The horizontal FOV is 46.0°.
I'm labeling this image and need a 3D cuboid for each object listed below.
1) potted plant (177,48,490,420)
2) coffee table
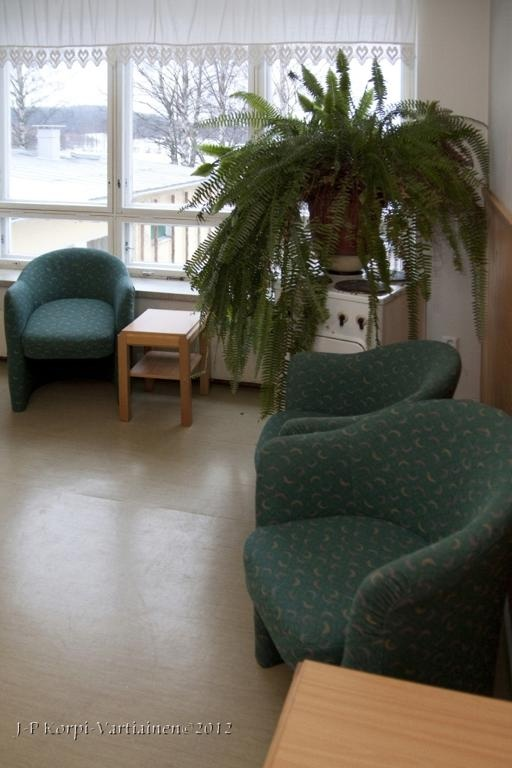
[{"bbox_3d":[0.266,-0.649,2.800,1.282,1.768,1.320,2,20,5],"label":"potted plant"},{"bbox_3d":[-0.527,-0.093,3.475,0.363,0.487,0.497,7,29,8],"label":"coffee table"}]
